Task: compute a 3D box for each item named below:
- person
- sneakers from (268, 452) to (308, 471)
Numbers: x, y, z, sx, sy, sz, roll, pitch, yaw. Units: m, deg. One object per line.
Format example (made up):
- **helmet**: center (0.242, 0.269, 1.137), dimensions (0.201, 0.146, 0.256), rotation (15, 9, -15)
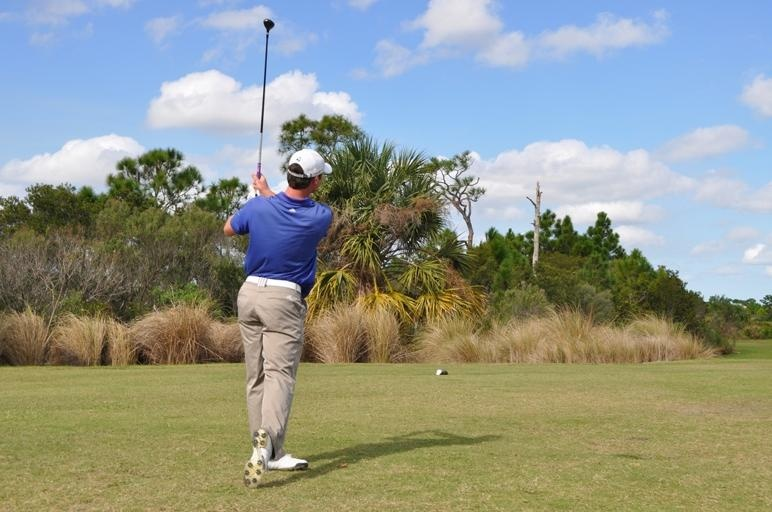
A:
- **person**: center (-0.890, 0.623, 6.081), dimensions (0.837, 2.349, 0.844), rotation (0, 2, -9)
- **sneakers**: center (-0.826, 1.753, 6.003), dimensions (0.323, 0.162, 0.132), rotation (-1, 1, -1)
